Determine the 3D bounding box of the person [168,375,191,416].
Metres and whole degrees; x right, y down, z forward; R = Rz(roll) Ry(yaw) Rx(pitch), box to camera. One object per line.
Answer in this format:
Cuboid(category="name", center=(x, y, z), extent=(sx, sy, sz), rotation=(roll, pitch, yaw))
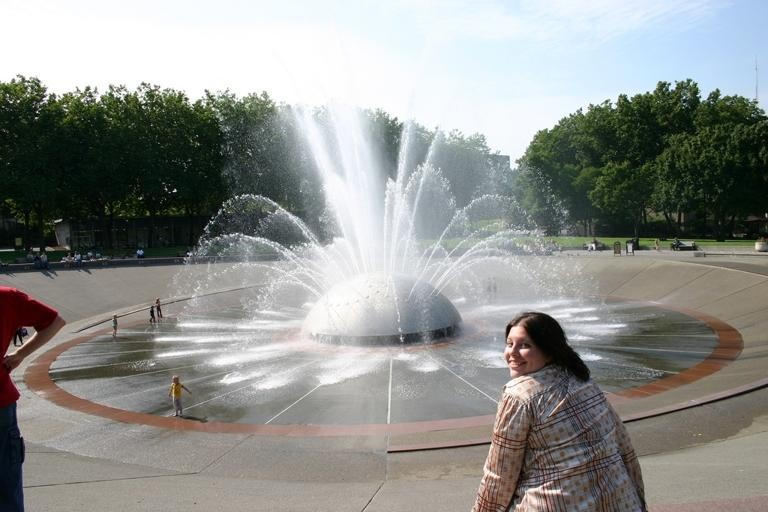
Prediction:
Cuboid(category="person", center=(-6.526, 4.173, 19.622), extent=(0.649, 1.231, 1.936), rotation=(-7, 10, -20))
